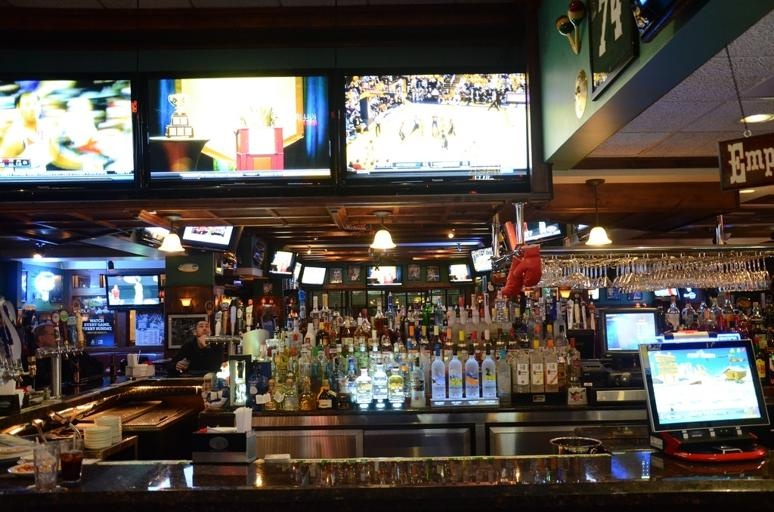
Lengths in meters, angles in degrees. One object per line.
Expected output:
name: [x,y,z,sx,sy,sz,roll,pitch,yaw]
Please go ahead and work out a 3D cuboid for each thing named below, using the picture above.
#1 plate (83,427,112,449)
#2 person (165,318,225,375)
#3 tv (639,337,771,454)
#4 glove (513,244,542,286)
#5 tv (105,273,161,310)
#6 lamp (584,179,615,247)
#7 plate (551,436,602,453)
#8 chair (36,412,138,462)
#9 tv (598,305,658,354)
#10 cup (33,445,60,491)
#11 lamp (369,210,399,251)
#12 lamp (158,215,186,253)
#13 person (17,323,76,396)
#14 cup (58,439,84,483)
plate: [-2.430,1.520,5.719,0.203,0.133,0.191,2,-2,-11]
person: [-2.467,1.177,8.833,0.618,0.642,0.825,-1,-3,-19]
tv: [2.367,1.051,5.015,0.904,0.865,0.215,-2,-3,-7]
glove: [1.316,0.084,6.329,0.229,0.385,0.199,-3,-3,10]
tv: [-5.892,0.815,15.891,1.236,0.777,0.373,-3,-3,14]
lamp: [2.555,-0.473,8.273,0.244,0.853,2.966,-3,-3,17]
plate: [1.475,1.479,5.269,0.389,0.116,0.324,-3,-3,15]
chair: [-2.463,1.545,5.736,0.492,0.308,0.288,15,-20,-8]
tv: [2.694,0.880,7.811,0.713,0.558,0.363,1,-5,-12]
cup: [-2.378,1.463,4.761,0.154,0.318,0.154,-2,-3,0]
lamp: [-0.056,-0.296,8.464,0.442,0.408,0.374,0,-4,-3]
lamp: [-2.805,-0.286,8.916,0.401,0.386,0.387,-2,-3,4]
person: [-3.701,1.092,7.337,0.604,0.665,1.917,1,-7,-13]
cup: [-2.249,1.440,4.847,0.141,0.292,0.193,-1,-3,-25]
